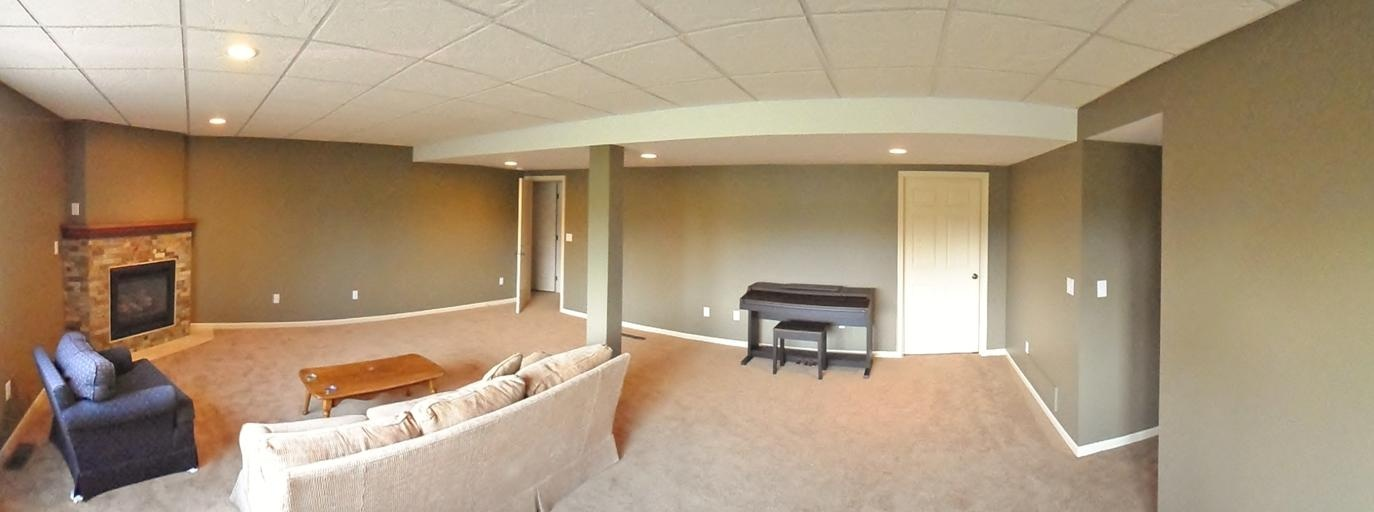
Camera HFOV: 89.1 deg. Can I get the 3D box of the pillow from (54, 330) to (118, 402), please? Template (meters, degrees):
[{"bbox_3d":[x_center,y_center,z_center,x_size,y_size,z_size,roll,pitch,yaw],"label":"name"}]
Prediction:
[{"bbox_3d":[-8.751,1.554,10.140,1.674,0.425,0.529,19,19,36],"label":"pillow"}]

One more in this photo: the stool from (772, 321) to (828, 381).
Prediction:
[{"bbox_3d":[1.984,1.574,12.023,0.904,0.937,0.680,1,2,11],"label":"stool"}]

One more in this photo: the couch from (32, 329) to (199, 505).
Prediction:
[{"bbox_3d":[-8.800,2.211,10.437,2.945,2.061,3.552,-2,3,-42],"label":"couch"}]

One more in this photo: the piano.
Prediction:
[{"bbox_3d":[2.574,1.308,13.196,3.740,1.660,1.691,1,3,17],"label":"piano"}]
